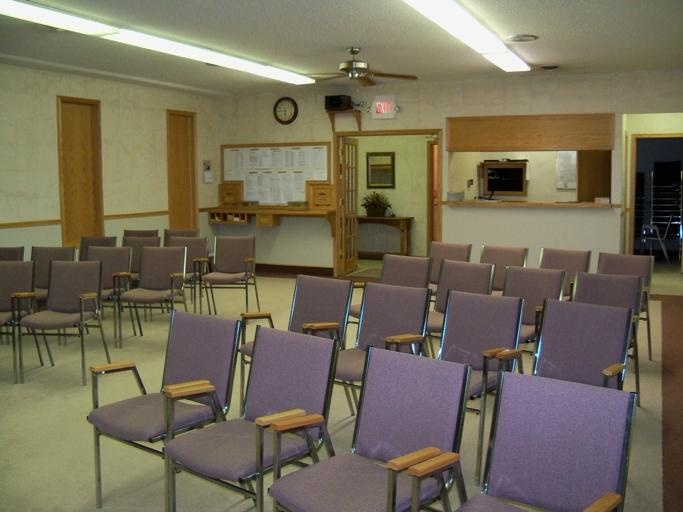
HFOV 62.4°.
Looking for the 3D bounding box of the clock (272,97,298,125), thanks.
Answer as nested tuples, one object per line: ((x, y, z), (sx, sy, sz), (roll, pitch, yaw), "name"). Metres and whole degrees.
((-1.001, -2.670, 10.329), (0.456, 0.473, 0.065), (12, 10, 27), "clock")

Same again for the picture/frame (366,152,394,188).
((0.924, -1.990, 12.916), (0.795, 0.946, 0.072), (2, 4, 26), "picture/frame")

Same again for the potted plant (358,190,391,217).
((0.768, -1.199, 12.839), (0.561, 0.493, 0.543), (-2, 6, -43), "potted plant")
